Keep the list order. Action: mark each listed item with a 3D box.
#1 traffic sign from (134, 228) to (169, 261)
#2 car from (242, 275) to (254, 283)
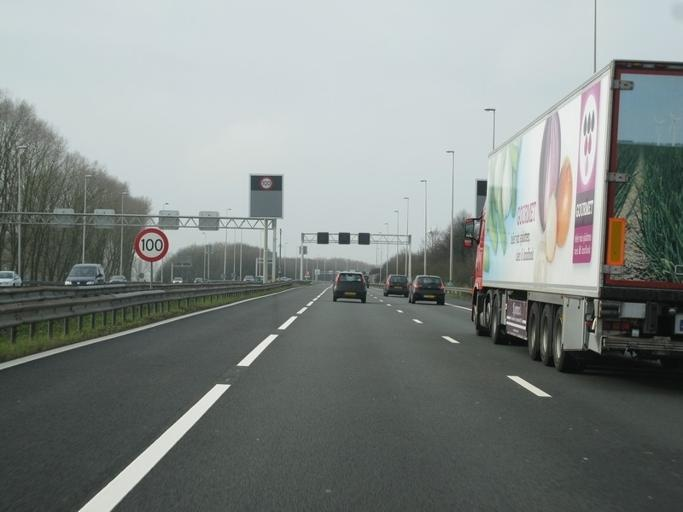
[{"bbox_3d":[-5.614,-0.384,19.879,0.991,1.272,0.114,-4,37,-23],"label":"traffic sign"},{"bbox_3d":[-17.494,4.067,124.771,1.101,1.265,2.158,-1,-10,-1],"label":"car"}]
